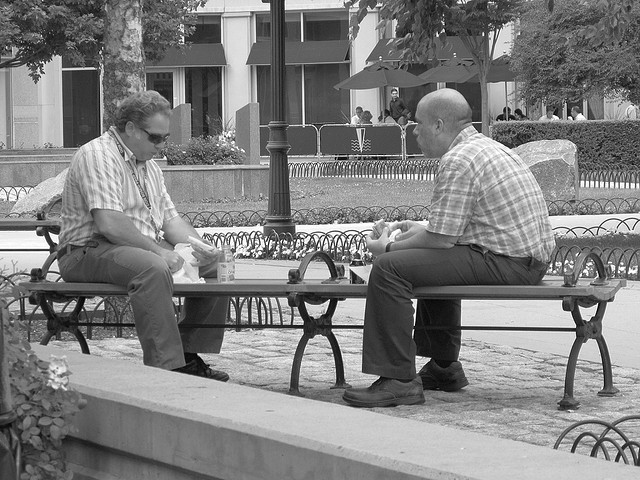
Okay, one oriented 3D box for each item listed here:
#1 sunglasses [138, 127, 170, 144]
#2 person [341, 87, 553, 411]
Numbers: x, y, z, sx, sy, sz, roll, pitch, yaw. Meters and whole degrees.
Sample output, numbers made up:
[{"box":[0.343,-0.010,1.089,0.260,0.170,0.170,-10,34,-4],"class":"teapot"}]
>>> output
[{"box":[-1.011,-0.643,7.251,0.214,0.103,0.087,-7,9,-43],"class":"sunglasses"},{"box":[0.773,0.031,7.045,1.179,1.860,0.999,0,6,10],"class":"person"}]
